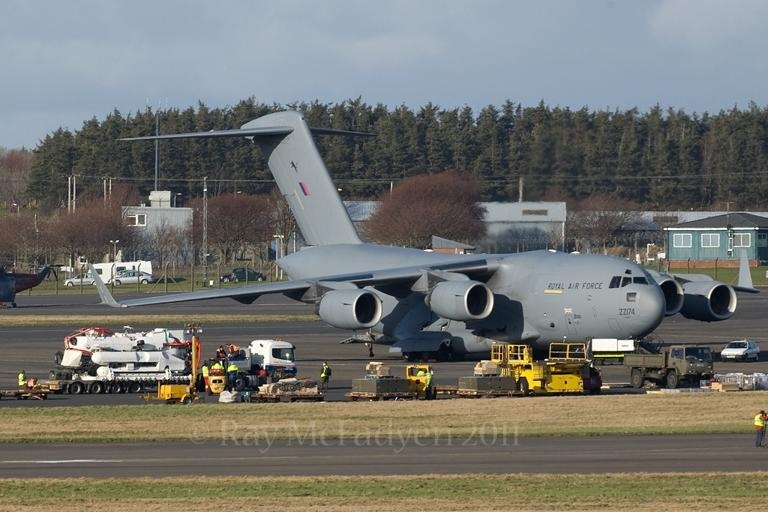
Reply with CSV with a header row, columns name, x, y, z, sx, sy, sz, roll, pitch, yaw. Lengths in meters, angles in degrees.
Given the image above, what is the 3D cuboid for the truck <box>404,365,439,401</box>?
name,x,y,z,sx,sy,sz,roll,pitch,yaw
truck,1.679,5.851,91.883,1.337,1.382,1.702,0,3,11

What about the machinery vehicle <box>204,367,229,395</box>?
name,x,y,z,sx,sy,sz,roll,pitch,yaw
machinery vehicle,-8.180,5.967,92.229,1.147,1.270,0.556,-3,-2,27

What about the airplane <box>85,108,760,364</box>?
name,x,y,z,sx,sy,sz,roll,pitch,yaw
airplane,3.108,-1.486,97.101,24.247,12.774,4.995,-2,-2,6
